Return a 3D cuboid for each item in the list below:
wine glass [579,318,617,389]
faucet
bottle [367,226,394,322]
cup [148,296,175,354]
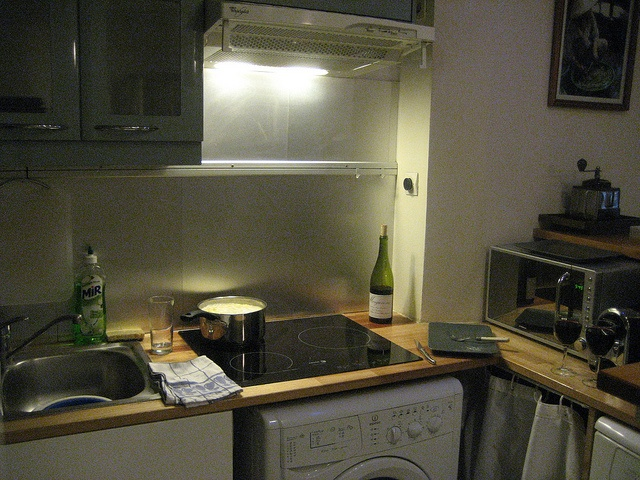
[{"bbox_3d":[0.946,0.409,1.820,0.129,0.215,0.113,4,16,1],"label":"wine glass"},{"bbox_3d":[-1.021,0.336,1.857,0.254,0.159,0.310,-6,8,-29],"label":"faucet"},{"bbox_3d":[0.285,0.152,2.394,0.116,0.455,0.213,-1,9,8],"label":"bottle"},{"bbox_3d":[-0.607,0.334,1.949,0.086,0.203,0.039,-5,9,-14],"label":"cup"}]
